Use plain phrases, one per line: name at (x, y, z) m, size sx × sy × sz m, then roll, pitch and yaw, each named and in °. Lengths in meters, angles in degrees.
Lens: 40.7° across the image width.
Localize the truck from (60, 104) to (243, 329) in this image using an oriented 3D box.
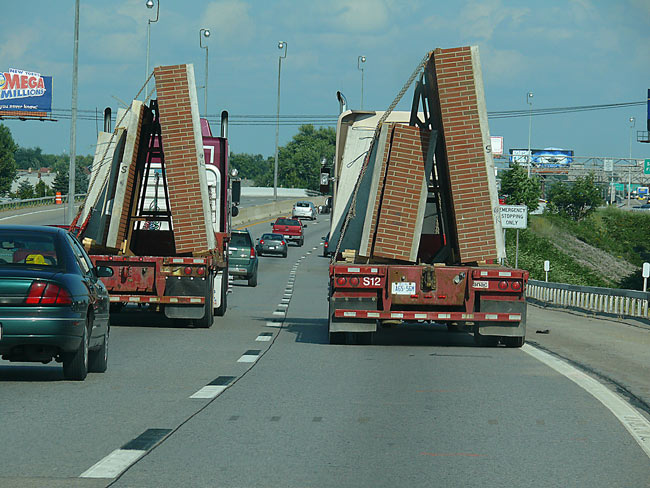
truck at (-4.184, -0.611, 19.566) m, size 3.499 × 4.442 × 7.014 m, roll 0°, pitch 8°, yaw 0°

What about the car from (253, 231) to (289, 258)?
car at (-3.252, 0.017, 55.189) m, size 1.276 × 1.174 × 2.534 m, roll 0°, pitch 9°, yaw -1°

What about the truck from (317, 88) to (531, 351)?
truck at (2.368, 0.106, 18.510) m, size 3.388 × 4.325 × 6.402 m, roll 1°, pitch -5°, yaw 12°

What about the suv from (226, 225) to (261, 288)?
suv at (-3.191, 0.555, 34.163) m, size 1.146 × 1.357 × 2.785 m, roll 0°, pitch 7°, yaw 2°
